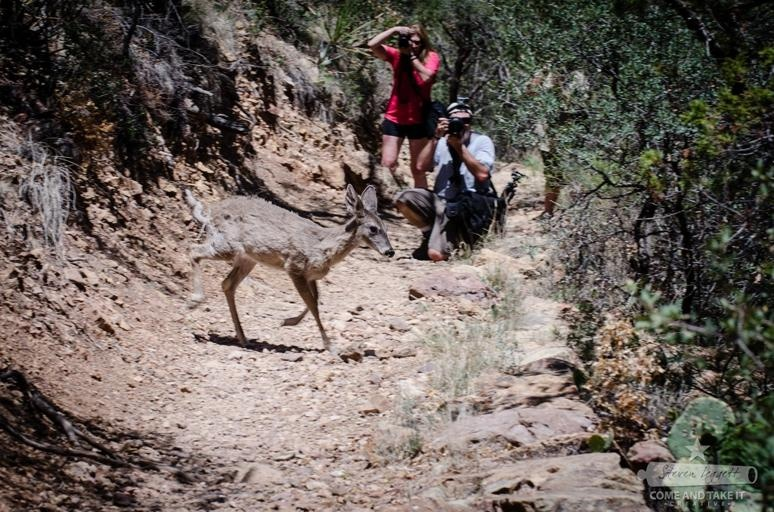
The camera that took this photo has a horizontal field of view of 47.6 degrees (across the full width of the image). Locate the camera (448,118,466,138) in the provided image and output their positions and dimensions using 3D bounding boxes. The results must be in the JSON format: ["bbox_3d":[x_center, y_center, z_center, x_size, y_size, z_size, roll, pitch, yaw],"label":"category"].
[{"bbox_3d":[0.968,-1.820,12.563,0.275,0.248,0.318,1,13,-2],"label":"camera"}]

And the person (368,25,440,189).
[{"bbox_3d":[0.262,-2.301,13.784,1.122,2.560,0.777,8,20,22],"label":"person"}]

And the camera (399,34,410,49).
[{"bbox_3d":[0.261,-3.218,13.172,0.149,0.202,0.226,0,14,-1],"label":"camera"}]

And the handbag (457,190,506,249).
[{"bbox_3d":[1.397,-0.585,14.018,0.805,0.848,0.954,3,-1,-7],"label":"handbag"}]
